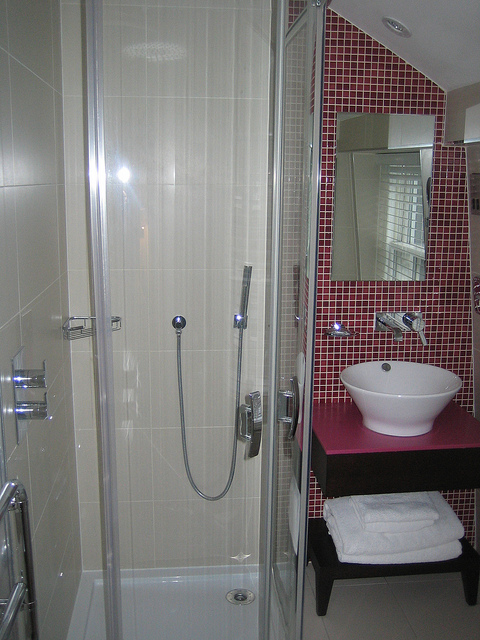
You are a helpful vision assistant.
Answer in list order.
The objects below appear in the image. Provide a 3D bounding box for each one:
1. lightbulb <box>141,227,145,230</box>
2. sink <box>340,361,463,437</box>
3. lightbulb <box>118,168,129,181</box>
[{"bbox_3d":[-0.194,-0.185,1.036,0.003,0.004,0.004,0,24,2],"label":"lightbulb"},{"bbox_3d":[0.653,0.334,2.119,0.473,0.224,0.468,2,11,14],"label":"sink"},{"bbox_3d":[-0.226,-0.283,1.006,0.016,0.023,0.010,10,11,2],"label":"lightbulb"}]
